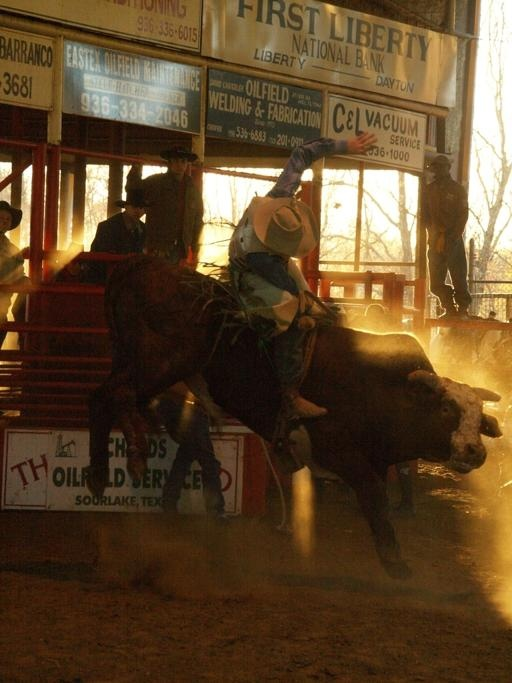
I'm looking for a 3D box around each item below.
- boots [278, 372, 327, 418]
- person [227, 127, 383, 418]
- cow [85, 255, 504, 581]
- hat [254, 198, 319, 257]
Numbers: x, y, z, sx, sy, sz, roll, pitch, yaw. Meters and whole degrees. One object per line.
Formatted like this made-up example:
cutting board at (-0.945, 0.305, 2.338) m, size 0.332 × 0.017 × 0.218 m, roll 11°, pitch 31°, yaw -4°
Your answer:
boots at (0.220, 0.293, 3.166) m, size 0.273 × 0.270 × 0.132 m, roll -4°, pitch 1°, yaw 11°
person at (0.199, -0.371, 3.283) m, size 0.647 × 1.534 × 0.340 m, roll 4°, pitch -7°, yaw -10°
cow at (0.171, 0.399, 3.304) m, size 2.091 × 1.139 × 0.469 m, roll 13°, pitch -7°, yaw 1°
hat at (0.164, -0.569, 3.202) m, size 0.318 × 0.293 × 0.113 m, roll 24°, pitch -28°, yaw -31°
